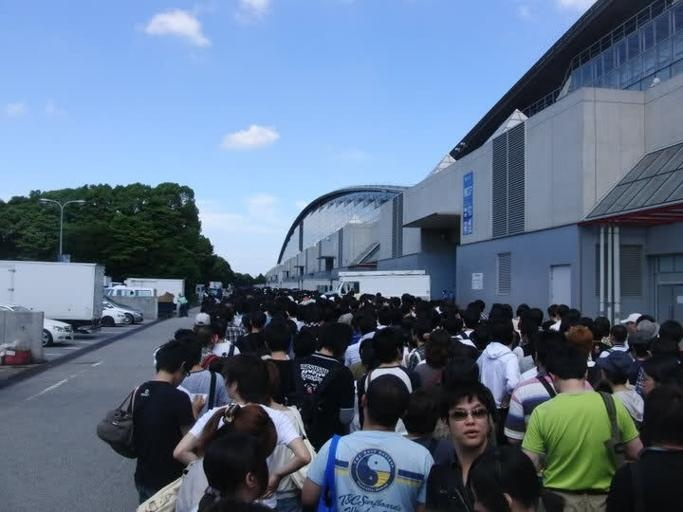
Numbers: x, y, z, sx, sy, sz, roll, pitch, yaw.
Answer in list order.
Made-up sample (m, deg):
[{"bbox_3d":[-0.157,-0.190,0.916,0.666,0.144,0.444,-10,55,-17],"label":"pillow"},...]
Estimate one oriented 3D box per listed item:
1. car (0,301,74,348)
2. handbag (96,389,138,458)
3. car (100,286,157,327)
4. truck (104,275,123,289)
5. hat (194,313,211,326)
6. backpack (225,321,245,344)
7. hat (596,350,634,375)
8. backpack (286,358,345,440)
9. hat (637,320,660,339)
[{"bbox_3d":[-10.966,2.635,21.947,3.726,1.381,1.670,1,-2,-12],"label":"car"},{"bbox_3d":[-2.028,1.477,5.342,0.430,0.599,0.278,19,2,33],"label":"handbag"},{"bbox_3d":[-14.035,3.365,38.919,3.422,1.846,2.318,3,-3,0],"label":"car"},{"bbox_3d":[-18.774,2.098,47.316,1.226,1.029,2.075,0,4,-44],"label":"truck"},{"bbox_3d":[-2.151,0.971,8.904,0.257,0.234,0.411,1,3,-9],"label":"hat"},{"bbox_3d":[-1.727,1.242,9.291,0.384,0.401,0.221,1,-4,-12],"label":"backpack"},{"bbox_3d":[2.669,1.036,5.757,0.280,0.206,0.398,2,10,-10],"label":"hat"},{"bbox_3d":[-0.250,1.492,5.981,0.710,0.935,0.499,0,8,21],"label":"backpack"},{"bbox_3d":[3.661,0.906,6.934,0.252,0.139,0.358,1,40,34],"label":"hat"}]
